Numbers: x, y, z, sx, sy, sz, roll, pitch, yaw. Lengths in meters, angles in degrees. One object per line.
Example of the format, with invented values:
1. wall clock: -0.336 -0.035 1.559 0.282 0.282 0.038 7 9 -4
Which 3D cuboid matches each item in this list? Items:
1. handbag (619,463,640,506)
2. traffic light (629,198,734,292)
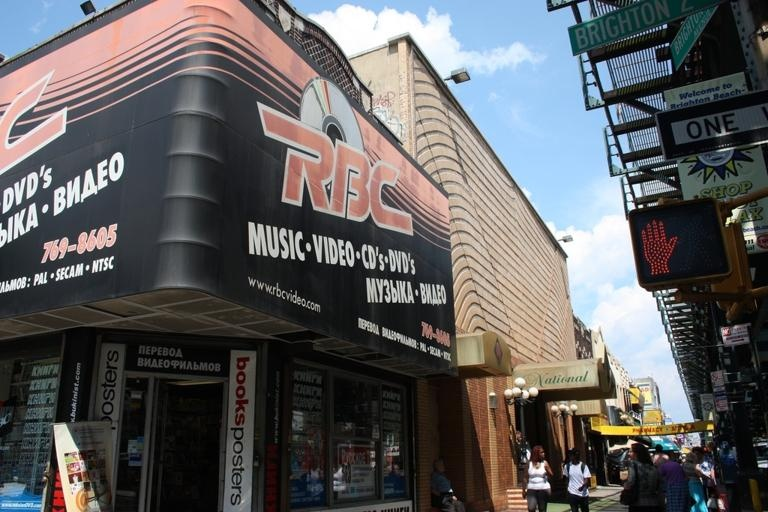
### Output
1. handbag: 4.722 4.398 11.069 0.402 0.700 0.705 5 -24 18
2. traffic light: 3.899 -0.157 7.580 0.980 1.111 0.530 -3 -12 11
